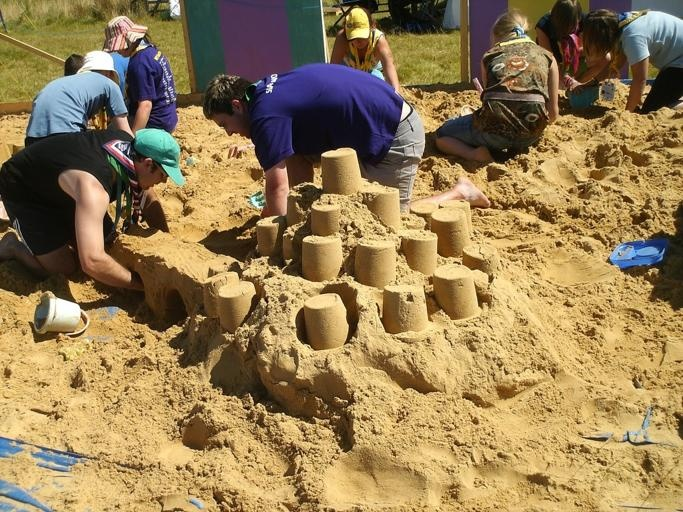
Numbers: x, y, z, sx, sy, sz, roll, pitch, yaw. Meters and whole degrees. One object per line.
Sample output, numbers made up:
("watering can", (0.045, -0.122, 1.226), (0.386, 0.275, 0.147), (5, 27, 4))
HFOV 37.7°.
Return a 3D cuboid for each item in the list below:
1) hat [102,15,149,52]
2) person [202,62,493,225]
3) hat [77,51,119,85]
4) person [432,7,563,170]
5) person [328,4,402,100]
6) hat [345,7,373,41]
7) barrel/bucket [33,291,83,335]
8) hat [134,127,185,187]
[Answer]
("hat", (-2.025, -2.113, 9.517), (0.318, 0.184, 0.370), (9, 37, -48))
("person", (0.074, -0.957, 7.977), (2.141, 1.475, 1.044), (-4, 31, 3))
("hat", (-2.201, -1.744, 9.070), (0.207, 0.191, 0.304), (2, 8, 8))
("person", (1.608, -1.529, 9.406), (1.026, 1.636, 1.006), (8, -3, -26))
("person", (0.240, -2.024, 9.694), (0.639, 0.975, 1.175), (0, 63, 8))
("hat", (0.152, -2.218, 9.441), (0.177, 0.185, 0.334), (1, 48, 5))
("barrel/bucket", (-2.149, 0.449, 7.561), (0.232, 0.346, 0.322), (5, -16, -29))
("hat", (-1.401, -0.760, 7.609), (0.345, 0.372, 0.376), (-10, 30, -13))
